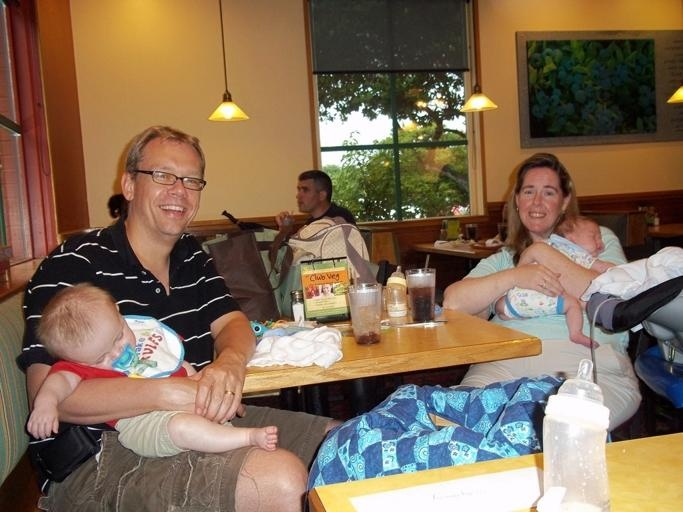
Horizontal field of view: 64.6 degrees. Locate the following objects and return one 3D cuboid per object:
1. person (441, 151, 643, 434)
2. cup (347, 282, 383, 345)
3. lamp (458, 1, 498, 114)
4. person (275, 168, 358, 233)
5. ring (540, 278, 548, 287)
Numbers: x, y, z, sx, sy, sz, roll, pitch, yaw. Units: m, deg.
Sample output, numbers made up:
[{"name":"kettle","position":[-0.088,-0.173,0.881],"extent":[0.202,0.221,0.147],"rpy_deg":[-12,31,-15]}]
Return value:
[{"name":"person","position":[0.802,0.138,2.161],"extent":[0.727,1.037,1.088],"rpy_deg":[0,7,26]},{"name":"cup","position":[0.084,0.200,1.872],"extent":[0.114,0.207,0.090],"rpy_deg":[-5,17,8]},{"name":"lamp","position":[1.391,-1.950,5.556],"extent":[0.392,0.956,1.129],"rpy_deg":[-2,17,16]},{"name":"person","position":[-0.185,-0.482,4.917],"extent":[0.477,0.523,0.832],"rpy_deg":[-1,1,-31]},{"name":"ring","position":[0.796,0.106,2.121],"extent":[0.026,0.025,0.009],"rpy_deg":[-3,-9,38]}]
